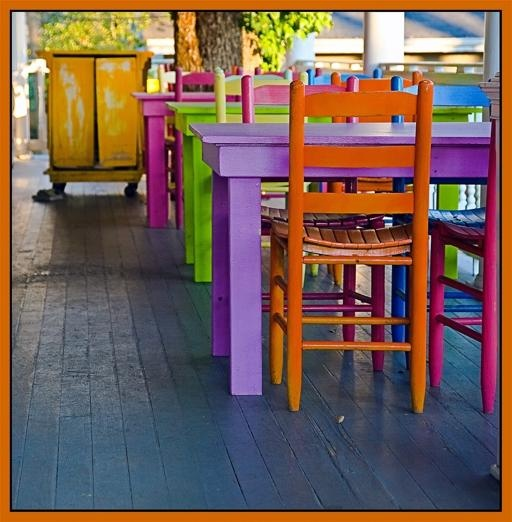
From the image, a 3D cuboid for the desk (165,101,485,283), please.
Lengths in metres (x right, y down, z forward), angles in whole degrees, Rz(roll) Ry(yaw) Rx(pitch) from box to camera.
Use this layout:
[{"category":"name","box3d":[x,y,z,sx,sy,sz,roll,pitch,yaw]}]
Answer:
[{"category":"desk","box3d":[0.299,-0.284,2.381,0.979,0.733,1.080,0,2,-5]}]

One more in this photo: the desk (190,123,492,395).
[{"category":"desk","box3d":[0.285,-0.139,2.354,0.899,0.990,1.205,0,4,-3]}]

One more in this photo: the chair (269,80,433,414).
[{"category":"chair","box3d":[0.366,-0.080,2.104,0.556,1.125,0.624,-6,15,-14]}]

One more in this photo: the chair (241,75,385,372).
[{"category":"chair","box3d":[0.314,-0.066,2.033,0.478,1.133,0.481,5,13,22]}]

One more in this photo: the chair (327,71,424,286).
[{"category":"chair","box3d":[0.782,-0.610,4.013,0.706,1.404,0.799,-1,22,2]}]

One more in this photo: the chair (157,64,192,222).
[{"category":"chair","box3d":[-0.763,-1.080,5.582,0.394,1.257,0.405,0,8,25]}]
